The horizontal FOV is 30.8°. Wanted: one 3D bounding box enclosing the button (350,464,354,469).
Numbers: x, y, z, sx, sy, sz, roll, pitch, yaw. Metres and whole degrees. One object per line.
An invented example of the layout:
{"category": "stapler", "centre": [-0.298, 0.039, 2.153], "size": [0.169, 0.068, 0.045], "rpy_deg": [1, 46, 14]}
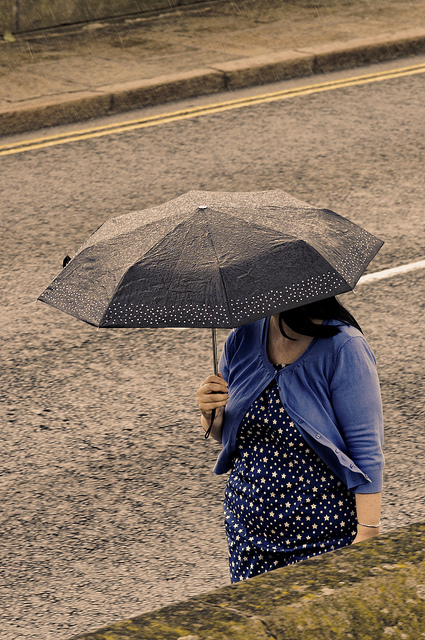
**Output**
{"category": "button", "centre": [0.363, 0.380, 2.003], "size": [0.008, 0.007, 0.006], "rpy_deg": [12, 40, 6]}

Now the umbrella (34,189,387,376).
{"category": "umbrella", "centre": [0.007, -0.099, 2.187], "size": [0.717, 0.401, 0.700], "rpy_deg": [11, 35, 29]}

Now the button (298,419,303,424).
{"category": "button", "centre": [0.234, 0.270, 2.051], "size": [0.013, 0.009, 0.005], "rpy_deg": [0, 13, 20]}

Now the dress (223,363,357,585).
{"category": "dress", "centre": [0.169, 0.468, 2.160], "size": [0.432, 0.612, 0.141], "rpy_deg": [4, 16, 35]}

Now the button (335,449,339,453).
{"category": "button", "centre": [0.326, 0.344, 2.016], "size": [0.009, 0.008, 0.007], "rpy_deg": [0, 33, 2]}

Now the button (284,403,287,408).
{"category": "button", "centre": [0.197, 0.232, 2.077], "size": [0.003, 0.010, 0.010], "rpy_deg": [-16, 16, -39]}
